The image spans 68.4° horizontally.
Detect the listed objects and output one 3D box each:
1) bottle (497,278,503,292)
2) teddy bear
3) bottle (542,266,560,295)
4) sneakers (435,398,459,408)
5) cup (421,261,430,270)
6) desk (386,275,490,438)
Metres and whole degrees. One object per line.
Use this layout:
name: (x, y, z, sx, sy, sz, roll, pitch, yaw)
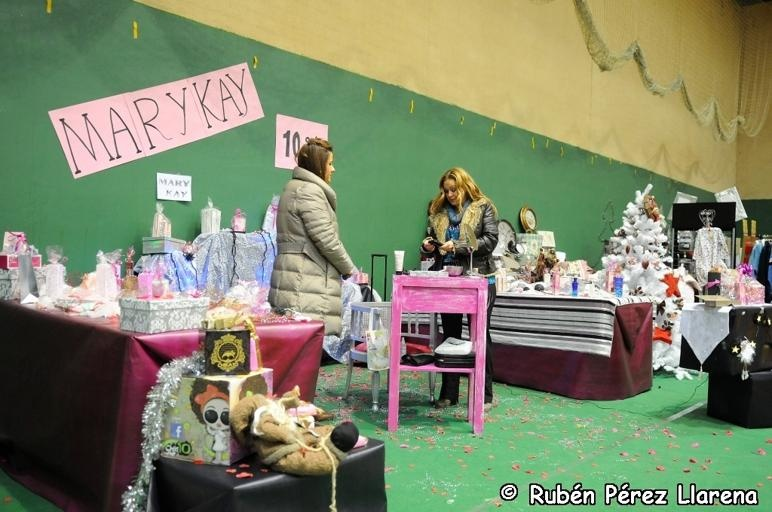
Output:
bottle: (1.132, 0.288, 5.615, 0.063, 0.122, 0.120, -3, -5, 10)
teddy bear: (-0.486, 0.840, 2.863, 0.629, 0.323, 0.487, 24, 3, 19)
bottle: (1.627, 0.232, 5.516, 0.119, 0.178, 0.443, 2, 5, 5)
sneakers: (0.505, 1.201, 4.685, 0.184, 0.081, 0.068, -1, 2, -25)
cup: (0.377, 0.092, 5.536, 0.093, 0.099, 0.088, 5, 3, 0)
desk: (0.326, 0.502, 4.220, 0.685, 0.785, 0.708, -1, -21, 25)
